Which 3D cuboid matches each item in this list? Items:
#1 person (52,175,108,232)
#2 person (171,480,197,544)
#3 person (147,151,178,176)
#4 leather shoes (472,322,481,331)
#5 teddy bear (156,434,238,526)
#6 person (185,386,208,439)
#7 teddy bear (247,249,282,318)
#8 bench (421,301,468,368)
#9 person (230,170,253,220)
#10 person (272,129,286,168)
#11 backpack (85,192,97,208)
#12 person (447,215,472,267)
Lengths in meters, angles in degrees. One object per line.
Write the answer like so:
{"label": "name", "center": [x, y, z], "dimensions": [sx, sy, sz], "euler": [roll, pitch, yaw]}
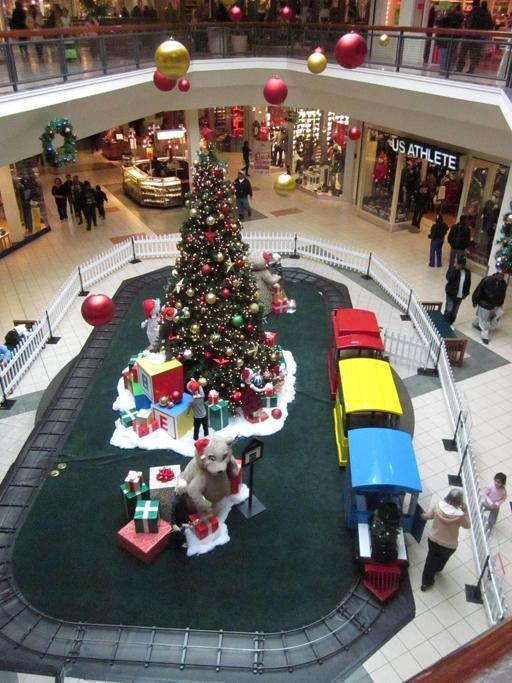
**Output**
{"label": "person", "center": [-5.883, -4.716, 15.689], "dimensions": [1.561, 1.524, 0.994], "euler": [21, 40, 26]}
{"label": "person", "center": [-1.020, 2.316, 6.396], "dimensions": [0.185, 0.572, 0.750], "euler": [6, 76, -24]}
{"label": "person", "center": [-3.651, -6.854, 18.320], "dimensions": [1.083, 0.702, 1.041], "euler": [-15, 58, -15]}
{"label": "leather shoes", "center": [5.141, -0.351, 10.989], "dimensions": [0.076, 0.093, 0.218], "euler": [-17, 43, -12]}
{"label": "teddy bear", "center": [-0.778, 1.844, 6.740], "dimensions": [0.964, 1.207, 1.082], "euler": [-18, 27, -42]}
{"label": "person", "center": [-0.953, 1.110, 7.798], "dimensions": [0.294, 1.055, 0.652], "euler": [-5, 36, -9]}
{"label": "teddy bear", "center": [0.156, -1.187, 9.660], "dimensions": [0.779, 1.558, 0.691], "euler": [-20, 56, -10]}
{"label": "bench", "center": [4.039, -0.115, 10.155], "dimensions": [0.548, 0.655, 1.490], "euler": [-10, 48, -4]}
{"label": "person", "center": [-0.525, -4.790, 15.445], "dimensions": [0.743, 1.556, 0.532], "euler": [-10, 42, -11]}
{"label": "person", "center": [0.921, -8.291, 20.172], "dimensions": [0.487, 1.436, 0.709], "euler": [1, 35, 0]}
{"label": "backpack", "center": [-5.397, -4.622, 15.239], "dimensions": [0.351, 0.504, 0.181], "euler": [-20, 41, -27]}
{"label": "person", "center": [5.232, -2.567, 12.099], "dimensions": [0.527, 1.414, 0.389], "euler": [16, 45, 27]}
